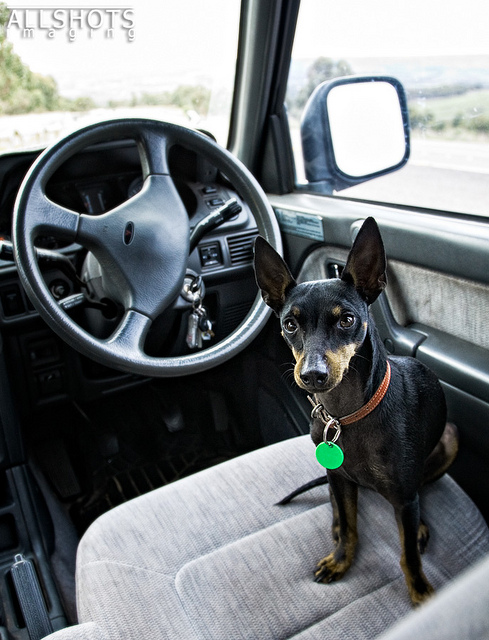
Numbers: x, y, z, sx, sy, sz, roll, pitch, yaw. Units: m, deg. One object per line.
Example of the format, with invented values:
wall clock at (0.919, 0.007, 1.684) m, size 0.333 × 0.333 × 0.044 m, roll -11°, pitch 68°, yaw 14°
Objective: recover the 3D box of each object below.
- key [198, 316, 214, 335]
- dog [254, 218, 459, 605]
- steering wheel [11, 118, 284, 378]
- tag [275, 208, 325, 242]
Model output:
key at (-0.117, 0.011, 1.510) m, size 0.010 × 0.044 × 0.031 m, roll -8°, pitch 43°, yaw 39°
dog at (0.213, 0.143, 1.039) m, size 0.474 × 0.670 × 0.487 m, roll 9°, pitch 30°, yaw 23°
steering wheel at (-0.297, -0.215, 1.297) m, size 0.730 × 0.737 × 0.146 m, roll -21°, pitch 2°, yaw -33°
tag at (0.219, -0.366, 1.858) m, size 0.009 × 0.079 × 0.221 m, roll -22°, pitch 26°, yaw -27°
